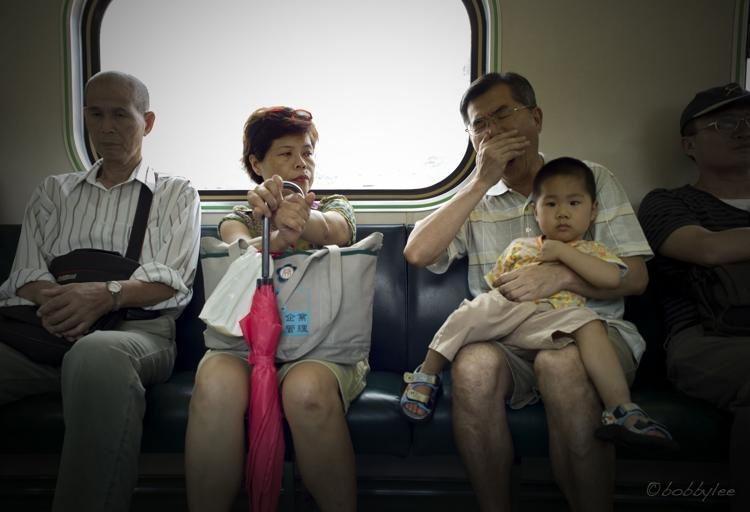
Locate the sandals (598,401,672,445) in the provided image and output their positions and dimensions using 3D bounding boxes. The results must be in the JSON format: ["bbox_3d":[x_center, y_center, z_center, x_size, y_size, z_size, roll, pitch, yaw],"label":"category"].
[{"bbox_3d":[0.927,0.591,2.063,0.149,0.109,0.254,5,-3,-33],"label":"sandals"}]

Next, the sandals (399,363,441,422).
[{"bbox_3d":[0.185,0.547,2.292,0.160,0.189,0.185,2,-1,7],"label":"sandals"}]

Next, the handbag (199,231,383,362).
[{"bbox_3d":[-0.367,0.167,2.395,0.709,0.530,0.384,2,-6,-5],"label":"handbag"}]
